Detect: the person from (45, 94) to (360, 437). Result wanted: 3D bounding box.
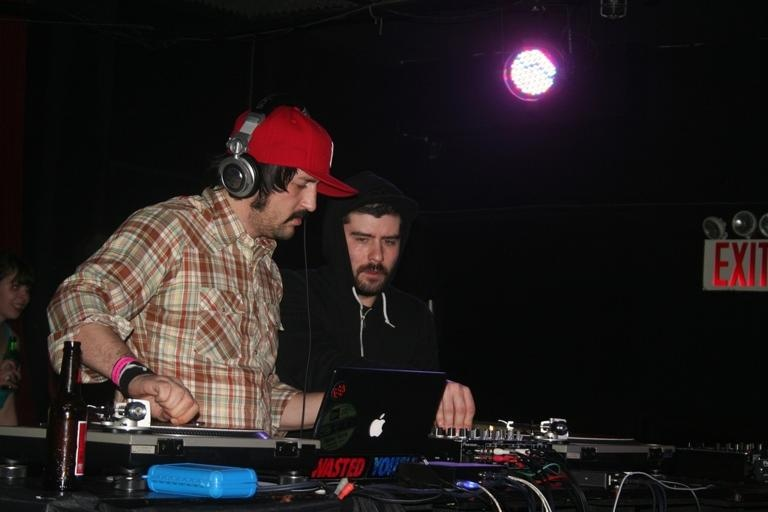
[{"bbox_3d":[-0.644,-0.003,2.863,0.648,1.354,1.012,-5,-16,27],"label":"person"}]

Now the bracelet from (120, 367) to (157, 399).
[{"bbox_3d":[-0.812,0.401,2.356,0.074,0.105,0.104,7,28,-50],"label":"bracelet"}]

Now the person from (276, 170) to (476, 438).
[{"bbox_3d":[-0.052,0.265,4.229,1.166,1.430,1.120,3,-1,-9],"label":"person"}]

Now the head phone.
[{"bbox_3d":[-0.589,-0.412,3.055,0.166,0.367,0.418,14,-4,-5],"label":"head phone"}]

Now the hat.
[{"bbox_3d":[-0.358,-0.471,3.152,0.531,0.282,0.327,19,-3,-29],"label":"hat"}]

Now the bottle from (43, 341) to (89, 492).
[{"bbox_3d":[-0.896,0.458,2.071,0.111,0.412,0.129,8,-16,-22],"label":"bottle"}]

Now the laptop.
[{"bbox_3d":[-0.024,0.554,2.590,0.421,0.253,0.359,5,-11,-22],"label":"laptop"}]

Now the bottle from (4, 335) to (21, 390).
[{"bbox_3d":[-2.199,0.623,4.300,0.097,0.327,0.332,9,-16,-26],"label":"bottle"}]

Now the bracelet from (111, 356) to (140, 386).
[{"bbox_3d":[-0.848,0.372,2.362,0.084,0.090,0.036,12,-4,-24],"label":"bracelet"}]
